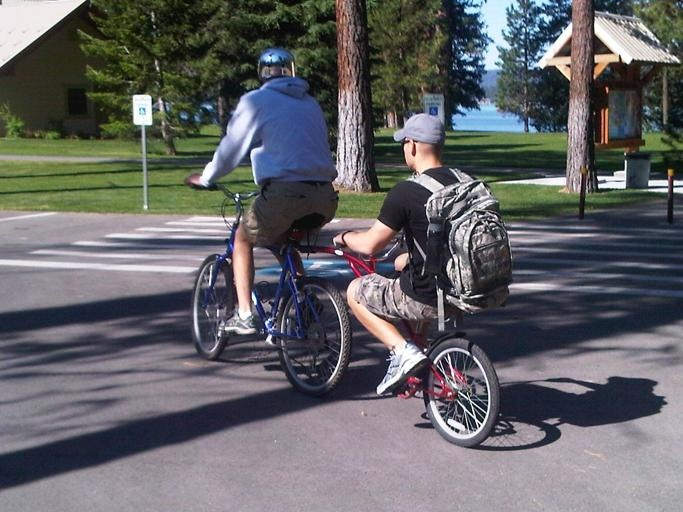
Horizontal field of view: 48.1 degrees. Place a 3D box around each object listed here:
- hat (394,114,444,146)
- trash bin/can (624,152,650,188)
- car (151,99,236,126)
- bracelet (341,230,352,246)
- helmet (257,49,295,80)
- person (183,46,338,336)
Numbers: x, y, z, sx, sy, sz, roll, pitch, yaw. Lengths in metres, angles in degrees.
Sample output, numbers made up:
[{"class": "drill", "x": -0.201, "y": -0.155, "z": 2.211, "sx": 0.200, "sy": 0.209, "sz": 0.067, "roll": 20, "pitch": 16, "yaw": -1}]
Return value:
[{"class": "hat", "x": 0.580, "y": -0.963, "z": 5.723, "sx": 0.311, "sy": 0.200, "sz": 0.244, "roll": 20, "pitch": 29, "yaw": 38}, {"class": "trash bin/can", "x": 8.828, "y": -2.579, "z": 22.834, "sx": 0.788, "sy": 1.032, "sz": 0.837, "roll": -1, "pitch": 11, "yaw": -6}, {"class": "car", "x": -7.018, "y": -6.700, "z": 35.758, "sx": 2.238, "sy": 0.873, "sz": 2.173, "roll": -6, "pitch": 9, "yaw": -43}, {"class": "bracelet", "x": 0.025, "y": -0.141, "z": 5.969, "sx": 0.095, "sy": 0.048, "sz": 0.076, "roll": -23, "pitch": -3, "yaw": 37}, {"class": "helmet", "x": -0.561, "y": -1.655, "z": 6.719, "sx": 0.267, "sy": 0.353, "sz": 0.379, "roll": 4, "pitch": 12, "yaw": 22}, {"class": "person", "x": -0.578, "y": -0.383, "z": 6.459, "sx": 1.071, "sy": 2.219, "sz": 0.492, "roll": -1, "pitch": 11, "yaw": -4}]
